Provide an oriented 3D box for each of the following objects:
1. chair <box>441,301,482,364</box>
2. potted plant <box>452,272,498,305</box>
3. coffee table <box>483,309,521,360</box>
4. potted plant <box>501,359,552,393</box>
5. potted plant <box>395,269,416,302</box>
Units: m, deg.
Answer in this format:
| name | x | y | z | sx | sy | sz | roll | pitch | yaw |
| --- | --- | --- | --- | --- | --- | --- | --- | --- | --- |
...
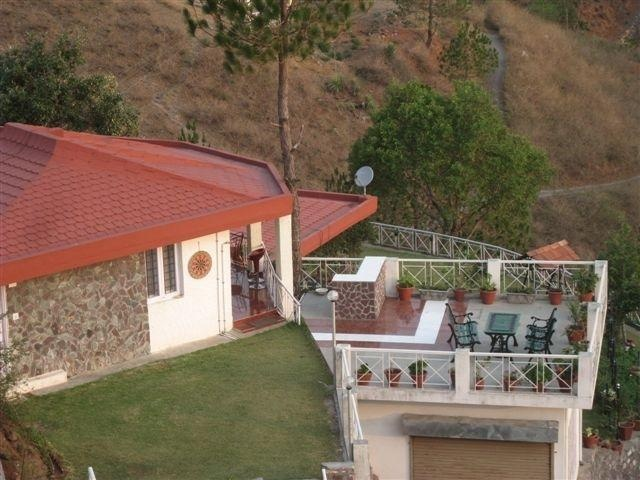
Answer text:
| name | x | y | z | sx | sy | sz | roll | pitch | yaw |
| --- | --- | --- | --- | --- | --- | --- | --- | --- | --- |
| chair | 8.391 | 4.834 | 111.412 | 1.872 | 2.663 | 3.602 | -4 | 22 | 4 |
| potted plant | 9.499 | 2.918 | 114.859 | 2.616 | 1.863 | 1.386 | 2 | 8 | 26 |
| coffee table | 10.670 | 5.139 | 110.576 | 1.632 | 2.088 | 2.895 | 5 | 22 | 15 |
| potted plant | 11.984 | 7.628 | 108.872 | 1.867 | 1.596 | 2.054 | 2 | 9 | 18 |
| potted plant | 5.225 | 2.879 | 115.683 | 1.170 | 1.927 | 1.327 | -1 | 5 | -15 |
